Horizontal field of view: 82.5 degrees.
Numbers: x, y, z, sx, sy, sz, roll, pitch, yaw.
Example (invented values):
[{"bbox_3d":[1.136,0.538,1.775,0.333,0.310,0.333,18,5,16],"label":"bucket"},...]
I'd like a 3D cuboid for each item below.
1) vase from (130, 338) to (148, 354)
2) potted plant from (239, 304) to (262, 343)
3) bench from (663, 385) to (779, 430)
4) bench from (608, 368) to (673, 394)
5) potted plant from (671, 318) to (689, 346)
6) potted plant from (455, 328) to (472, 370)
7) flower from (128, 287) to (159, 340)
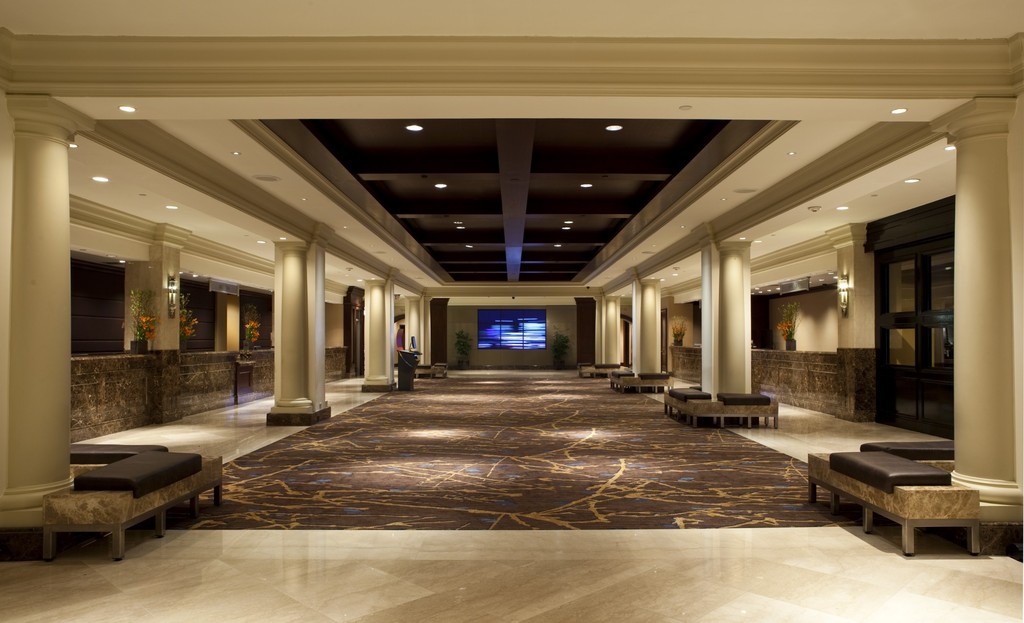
[{"bbox_3d":[-7.438,0.720,11.629,0.347,0.254,0.303,-1,-8,0],"label":"vase"},{"bbox_3d":[-8.535,0.499,19.077,0.616,1.398,2.828,-1,2,-24],"label":"potted plant"},{"bbox_3d":[4.262,1.985,11.868,2.175,0.690,1.344,1,2,23],"label":"bench"},{"bbox_3d":[3.912,2.160,17.775,1.382,0.750,2.301,0,2,1],"label":"bench"},{"bbox_3d":[7.218,0.910,24.884,0.621,1.034,1.323,1,2,18],"label":"potted plant"},{"bbox_3d":[-2.617,2.045,31.364,0.819,1.939,0.723,-1,3,-6],"label":"potted plant"},{"bbox_3d":[-7.452,0.098,11.765,0.426,1.016,0.365,-2,3,-28],"label":"flower"}]
